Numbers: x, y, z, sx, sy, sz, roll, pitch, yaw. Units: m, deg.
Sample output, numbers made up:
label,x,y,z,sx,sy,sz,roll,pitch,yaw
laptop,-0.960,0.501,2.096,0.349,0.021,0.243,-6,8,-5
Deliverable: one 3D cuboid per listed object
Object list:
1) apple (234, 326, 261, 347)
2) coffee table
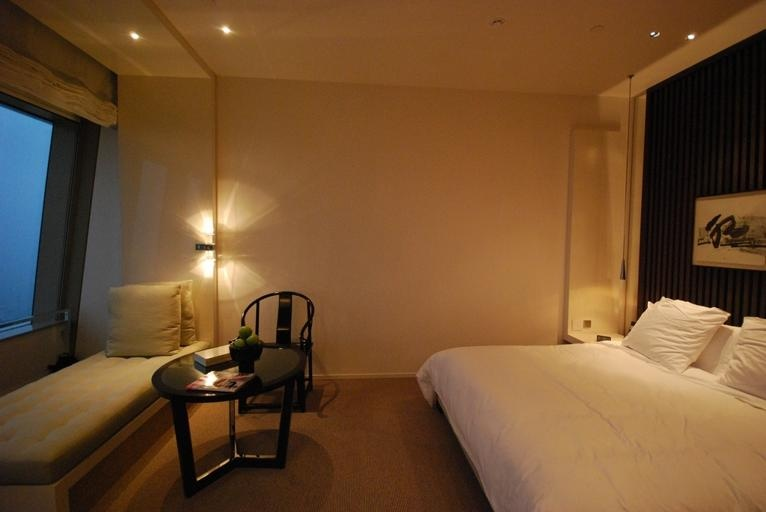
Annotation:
label,x,y,z,sx,sy,sz,roll,pitch,yaw
apple,-1.223,0.733,4.607,0.203,0.184,0.158,-8,8,-37
coffee table,-1.289,1.315,4.497,1.032,0.863,1.147,1,10,8
